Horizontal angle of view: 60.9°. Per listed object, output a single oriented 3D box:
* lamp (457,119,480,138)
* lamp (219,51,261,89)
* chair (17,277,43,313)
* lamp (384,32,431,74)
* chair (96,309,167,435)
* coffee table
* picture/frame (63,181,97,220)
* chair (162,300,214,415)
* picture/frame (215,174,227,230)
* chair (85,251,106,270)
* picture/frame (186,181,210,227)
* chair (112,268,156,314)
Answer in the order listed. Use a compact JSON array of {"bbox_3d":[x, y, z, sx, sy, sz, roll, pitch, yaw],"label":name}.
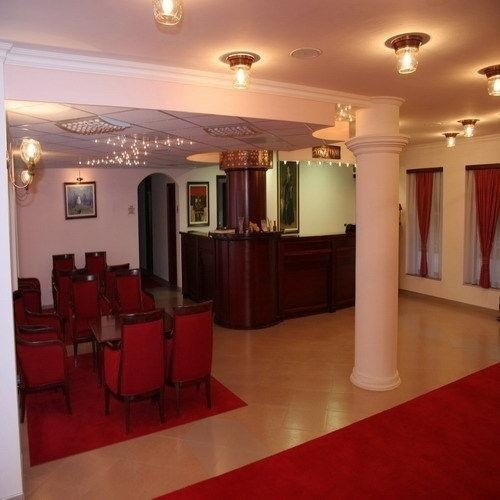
[{"bbox_3d":[3.200,-1.771,6.232,0.323,0.284,0.359,0,1,13],"label":"lamp"},{"bbox_3d":[-0.076,-1.386,3.340,0.298,0.249,0.309,-8,15,-43],"label":"lamp"},{"bbox_3d":[-3.034,0.667,5.920,0.277,0.451,0.420,0,11,-25],"label":"chair"},{"bbox_3d":[1.083,-1.353,2.983,0.251,0.222,0.276,-6,19,-19],"label":"lamp"},{"bbox_3d":[-1.117,1.103,4.182,0.552,1.124,0.711,-4,7,-32],"label":"chair"},{"bbox_3d":[-1.400,0.945,4.896,0.812,0.719,0.707,-9,-6,-11],"label":"coffee table"},{"bbox_3d":[-3.505,-1.025,8.887,0.607,0.800,0.047,-8,36,-30],"label":"picture/frame"},{"bbox_3d":[-0.674,1.086,4.512,0.607,1.145,0.677,2,7,18],"label":"chair"},{"bbox_3d":[-0.680,-1.164,10.174,0.229,1.185,0.255,-2,7,-14],"label":"picture/frame"},{"bbox_3d":[-3.004,0.233,8.358,0.239,0.418,0.241,-3,11,-27],"label":"chair"},{"bbox_3d":[-1.179,-1.037,9.848,0.575,0.993,0.125,-6,9,-43],"label":"picture/frame"},{"bbox_3d":[-1.741,0.637,6.293,0.539,0.942,0.632,-2,4,-24],"label":"chair"}]
